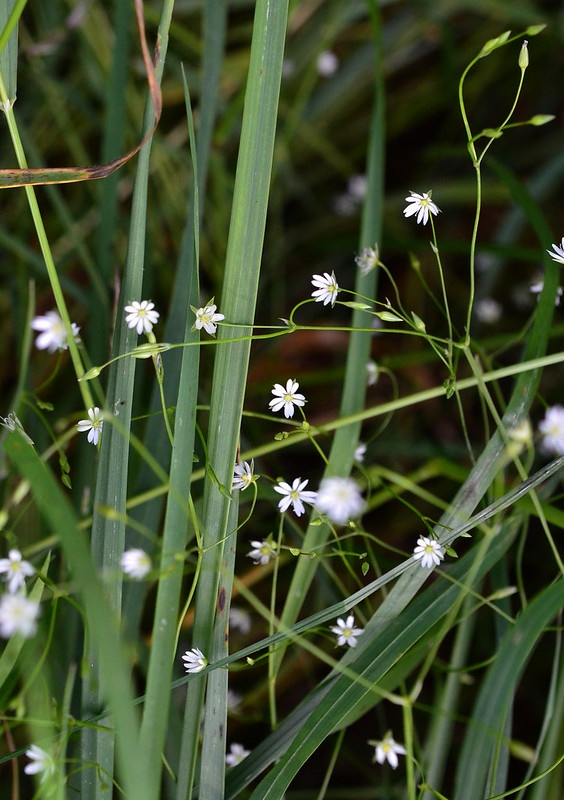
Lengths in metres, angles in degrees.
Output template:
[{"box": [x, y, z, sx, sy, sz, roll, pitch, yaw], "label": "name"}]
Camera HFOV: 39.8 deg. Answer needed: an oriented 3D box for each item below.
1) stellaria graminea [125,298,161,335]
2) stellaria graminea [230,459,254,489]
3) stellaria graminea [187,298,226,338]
[{"box": [-0.070, -0.043, 0.388, 0.015, 0.024, 0.014, 7, -32, -13], "label": "stellaria graminea"}, {"box": [-0.020, 0.039, 0.392, 0.013, 0.014, 0.007, 10, -18, 47], "label": "stellaria graminea"}, {"box": [-0.037, -0.040, 0.387, 0.008, 0.016, 0.017, 19, -35, 48], "label": "stellaria graminea"}]
